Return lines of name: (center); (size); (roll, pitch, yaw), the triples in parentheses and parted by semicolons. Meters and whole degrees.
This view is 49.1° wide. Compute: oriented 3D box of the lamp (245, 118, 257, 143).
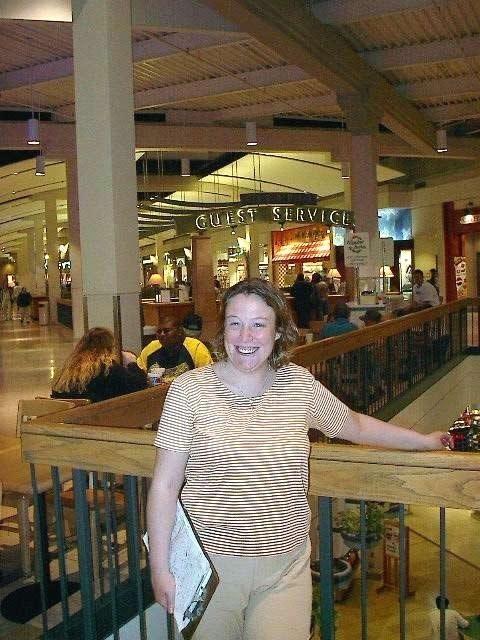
lamp: (0.241, -4.080, 11.363); (0.213, 0.434, 0.390); (-5, 2, 0)

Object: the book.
book: (-0.085, 0.494, 1.003); (0.056, 0.239, 0.116); (-6, 2, -39)

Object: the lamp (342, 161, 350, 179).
lamp: (3.070, -4.337, 15.217); (0.198, 0.367, 0.613); (-4, 2, 9)

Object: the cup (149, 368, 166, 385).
cup: (-0.697, 0.459, 4.380); (0.129, 0.153, 0.125); (0, 6, 0)

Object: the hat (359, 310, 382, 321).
hat: (1.888, -0.023, 7.495); (0.305, 0.134, 0.291); (6, 24, 13)
